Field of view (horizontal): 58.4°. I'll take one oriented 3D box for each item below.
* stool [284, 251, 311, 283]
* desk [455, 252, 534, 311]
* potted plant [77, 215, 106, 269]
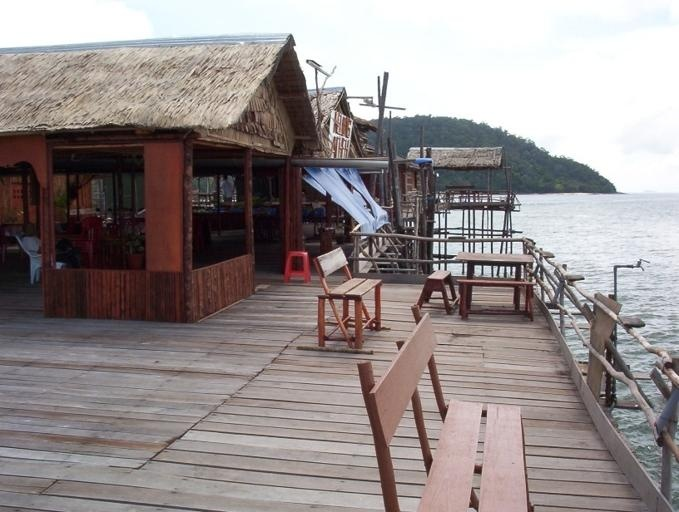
[{"bbox_3d":[-0.892,0.224,12.767,0.612,0.711,0.612,1,-1,3],"label":"stool"},{"bbox_3d":[2.488,0.131,9.756,1.312,0.980,1.066,0,0,18],"label":"desk"},{"bbox_3d":[-5.072,-0.260,12.399,0.476,1.066,1.673,-5,7,-21],"label":"potted plant"}]
